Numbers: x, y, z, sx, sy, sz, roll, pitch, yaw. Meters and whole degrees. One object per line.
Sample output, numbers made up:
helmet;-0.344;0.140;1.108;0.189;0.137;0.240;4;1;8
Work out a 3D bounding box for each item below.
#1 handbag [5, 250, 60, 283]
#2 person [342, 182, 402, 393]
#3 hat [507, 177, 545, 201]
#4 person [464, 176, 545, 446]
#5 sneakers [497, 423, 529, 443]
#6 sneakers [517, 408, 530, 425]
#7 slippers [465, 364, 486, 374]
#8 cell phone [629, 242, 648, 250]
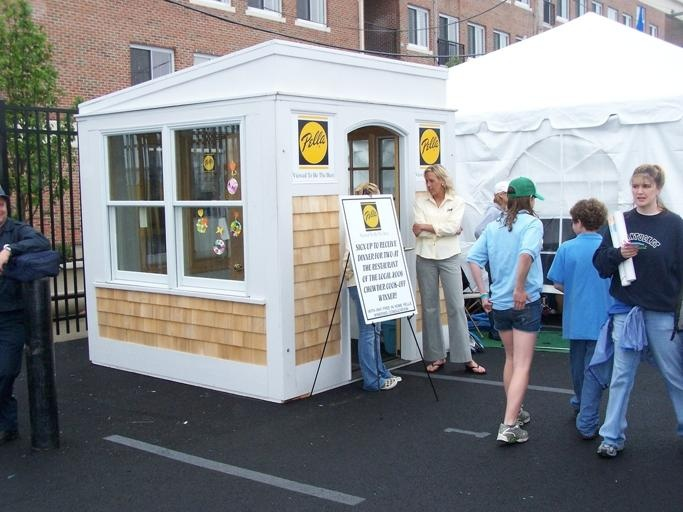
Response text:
handbag;-2.670;0.091;5.584;0.319;0.160;0.328;5;10;34
person;0.322;0.352;6.884;0.615;2.203;0.697;-1;10;4
hat;1.633;-0.604;5.780;0.303;0.168;0.200;-3;10;-23
person;1.464;0.456;5.657;0.589;2.237;0.677;-3;10;-6
sneakers;1.472;1.525;5.593;0.324;0.150;0.125;-4;4;-43
sneakers;1.678;1.489;6.020;0.076;0.140;0.204;0;11;29
slippers;1.559;1.311;7.518;0.181;0.056;0.100;2;7;32
cell phone;2.316;-0.073;5.045;0.120;0.070;0.190;4;11;26
